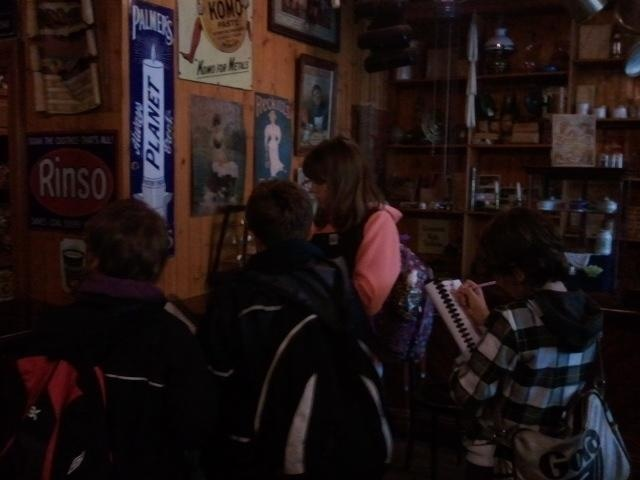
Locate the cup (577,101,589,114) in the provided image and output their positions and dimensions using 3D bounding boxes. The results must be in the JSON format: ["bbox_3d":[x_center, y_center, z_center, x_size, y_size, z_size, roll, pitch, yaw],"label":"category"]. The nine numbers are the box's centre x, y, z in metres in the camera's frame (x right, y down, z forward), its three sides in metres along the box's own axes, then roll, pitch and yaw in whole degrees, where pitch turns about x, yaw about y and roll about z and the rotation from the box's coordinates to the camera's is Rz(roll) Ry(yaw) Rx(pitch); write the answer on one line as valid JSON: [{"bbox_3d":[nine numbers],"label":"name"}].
[{"bbox_3d":[2.413,-1.214,4.941,0.104,0.115,0.106,-1,4,0],"label":"cup"}]

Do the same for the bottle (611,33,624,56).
[{"bbox_3d":[2.750,-1.816,4.992,0.106,0.243,0.097,1,3,0],"label":"bottle"}]
